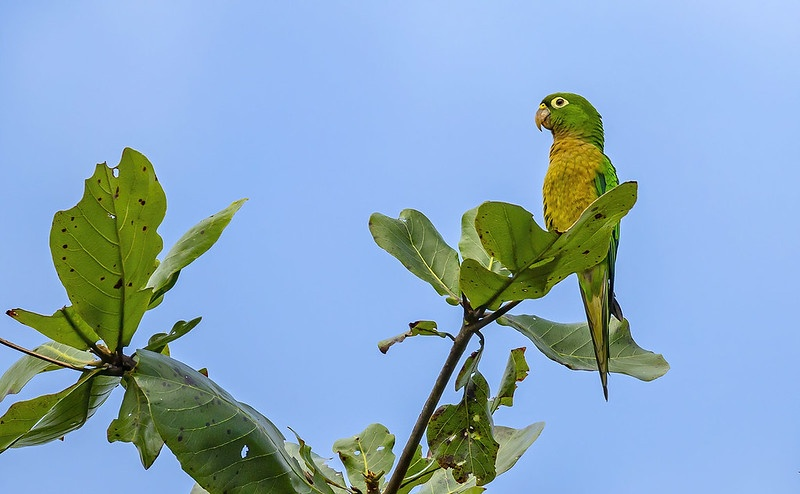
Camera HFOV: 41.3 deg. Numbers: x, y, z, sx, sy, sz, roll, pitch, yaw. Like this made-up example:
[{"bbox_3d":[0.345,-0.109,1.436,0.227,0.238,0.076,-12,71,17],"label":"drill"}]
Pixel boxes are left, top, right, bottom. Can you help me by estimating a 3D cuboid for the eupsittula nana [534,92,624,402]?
[{"bbox_3d":[0.270,-0.067,1.611,0.130,0.660,0.266,-1,-52,9],"label":"eupsittula nana"}]
